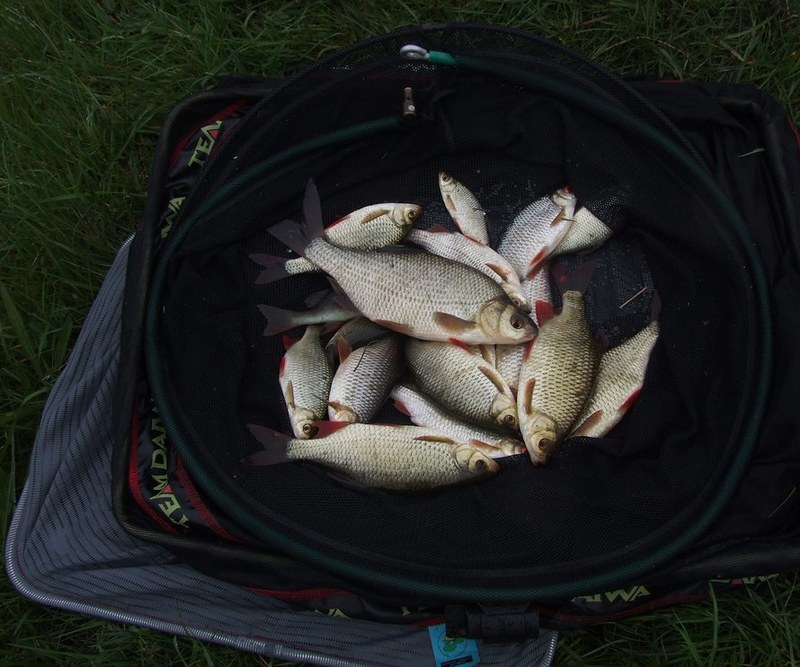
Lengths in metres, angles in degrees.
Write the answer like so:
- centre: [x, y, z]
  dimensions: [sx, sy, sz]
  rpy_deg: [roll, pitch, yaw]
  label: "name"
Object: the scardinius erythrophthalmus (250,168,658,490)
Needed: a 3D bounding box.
- centre: [0.135, 0.004, 1.854]
  dimensions: [0.662, 0.235, 0.589]
  rpy_deg: [-26, 73, 1]
  label: "scardinius erythrophthalmus"
